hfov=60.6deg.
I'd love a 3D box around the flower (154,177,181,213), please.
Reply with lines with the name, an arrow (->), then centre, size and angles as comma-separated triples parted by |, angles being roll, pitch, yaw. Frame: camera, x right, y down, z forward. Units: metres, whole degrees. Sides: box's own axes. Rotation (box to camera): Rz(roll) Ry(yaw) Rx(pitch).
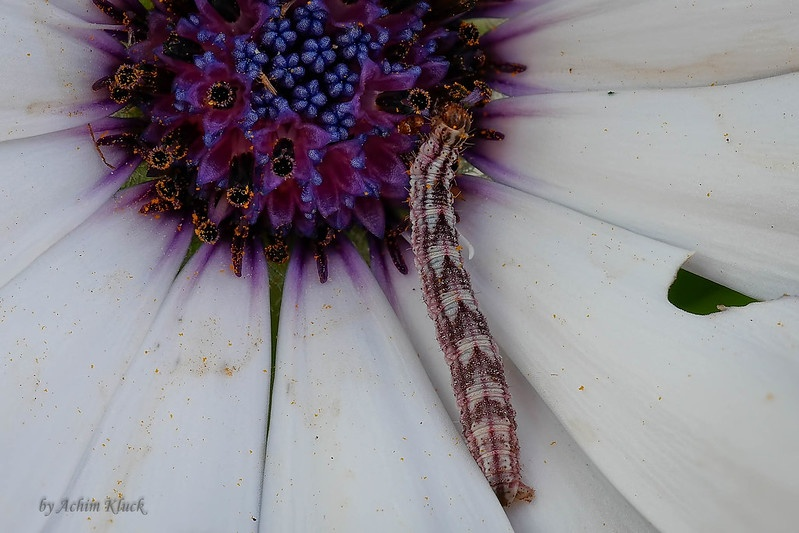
flower -> -0.658, -0.209, 1.959 | 0.065, 0.032, 0.101 | -6, -65, -15

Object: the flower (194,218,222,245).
flower -> -0.547, -0.108, 1.954 | 0.065, 0.036, 0.061 | 3, -67, -19

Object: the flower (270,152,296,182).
flower -> -0.314, -0.278, 1.847 | 0.067, 0.034, 0.055 | -31, -61, -2

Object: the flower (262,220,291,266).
flower -> -0.357, -0.069, 1.989 | 0.074, 0.028, 0.108 | 7, -83, -10
